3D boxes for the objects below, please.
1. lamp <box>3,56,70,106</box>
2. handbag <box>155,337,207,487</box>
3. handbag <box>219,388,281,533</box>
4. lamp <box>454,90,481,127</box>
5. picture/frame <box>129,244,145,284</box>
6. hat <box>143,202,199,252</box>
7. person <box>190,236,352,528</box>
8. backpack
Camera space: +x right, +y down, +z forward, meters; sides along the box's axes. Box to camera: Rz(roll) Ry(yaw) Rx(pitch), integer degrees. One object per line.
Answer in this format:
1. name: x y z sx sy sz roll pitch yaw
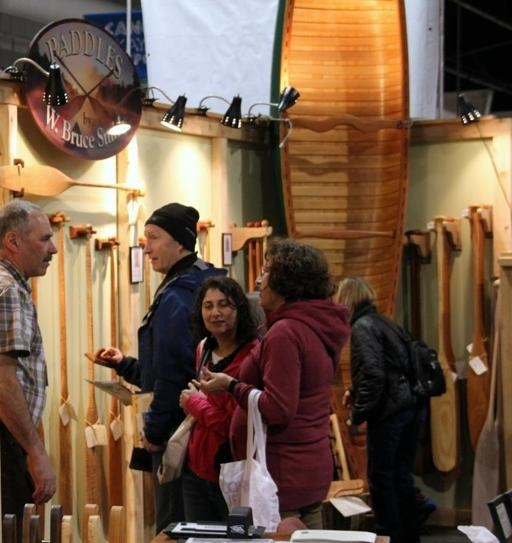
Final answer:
1. lamp: -1.019 -0.887 4.521 0.293 0.227 0.119 17 37 14
2. handbag: -0.293 0.583 4.028 0.149 0.611 0.155 14 -1 23
3. handbag: -0.029 0.697 3.601 0.217 0.515 0.179 -2 -2 -1
4. lamp: 1.253 -0.975 5.776 0.108 0.187 0.155 -2 -2 8
5. picture/frame: -0.644 -0.050 5.228 0.027 0.233 0.192 0 3 16
6. hat: -0.344 -0.215 4.371 0.195 0.194 0.219 32 9 34
7. person: 0.079 0.711 3.890 0.553 1.684 0.556 1 2 15
8. backpack: 0.872 0.462 5.410 0.461 0.510 0.334 1 18 13
